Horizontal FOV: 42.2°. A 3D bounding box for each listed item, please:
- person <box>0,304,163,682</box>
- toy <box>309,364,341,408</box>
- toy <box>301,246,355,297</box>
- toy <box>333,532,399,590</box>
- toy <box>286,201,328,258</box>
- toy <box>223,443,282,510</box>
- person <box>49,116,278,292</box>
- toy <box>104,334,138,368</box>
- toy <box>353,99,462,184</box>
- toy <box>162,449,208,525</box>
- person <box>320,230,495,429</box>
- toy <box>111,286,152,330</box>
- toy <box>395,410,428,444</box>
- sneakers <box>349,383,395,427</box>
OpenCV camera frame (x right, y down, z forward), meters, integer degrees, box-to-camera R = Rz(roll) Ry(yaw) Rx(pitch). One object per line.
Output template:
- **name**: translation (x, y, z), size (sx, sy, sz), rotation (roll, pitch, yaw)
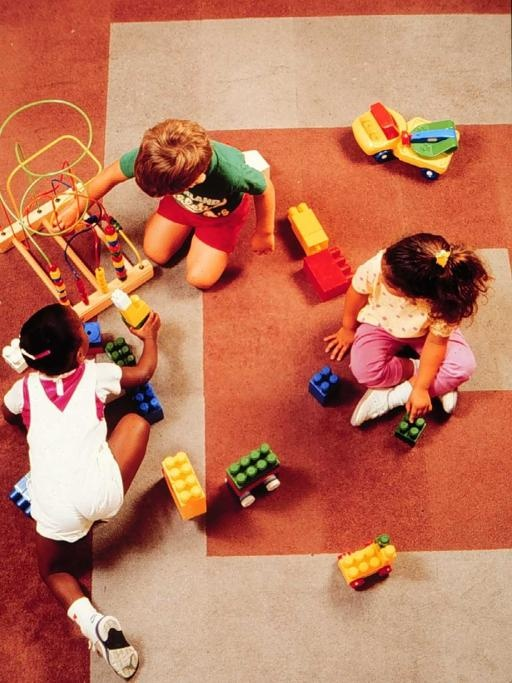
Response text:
- **person**: translation (-0.486, 0.294, 1.797), size (0.490, 0.557, 1.018), rotation (-7, 72, -14)
- **toy**: translation (0.227, 0.153, 2.222), size (0.085, 0.120, 0.084), rotation (42, 89, 4)
- **toy**: translation (0.250, -0.236, 2.403), size (0.184, 0.096, 0.184), rotation (-23, 69, -12)
- **toy**: translation (0.331, 0.650, 2.027), size (0.205, 0.123, 0.141), rotation (-24, 74, -3)
- **toy**: translation (0.189, -0.410, 2.464), size (0.113, 0.077, 0.233), rotation (-21, 62, -11)
- **toy**: translation (-0.013, 0.428, 2.067), size (0.162, 0.149, 0.116), rotation (-30, 66, -17)
- **person**: translation (-0.302, -0.452, 2.134), size (0.691, 0.703, 0.409), rotation (-17, 76, 0)
- **toy**: translation (-0.461, 0.029, 2.224), size (0.086, 0.030, 0.121), rotation (-36, 95, -11)
- **toy**: translation (0.571, -0.762, 2.611), size (0.429, 0.191, 0.236), rotation (17, 88, -1)
- **toy**: translation (-0.221, 0.453, 2.030), size (0.101, 0.184, 0.192), rotation (-20, 74, -7)
- **person**: translation (0.451, -0.035, 2.012), size (0.364, 0.697, 0.422), rotation (-13, 64, -6)
- **toy**: translation (-0.410, -0.105, 2.142), size (0.077, 0.136, 0.084), rotation (-40, 61, -10)
- **toy**: translation (0.508, 0.279, 2.188), size (0.103, 0.064, 0.098), rotation (33, 93, 19)
- **sneakers**: translation (0.392, 0.209, 2.213), size (0.074, 0.064, 0.189), rotation (30, 73, 29)
